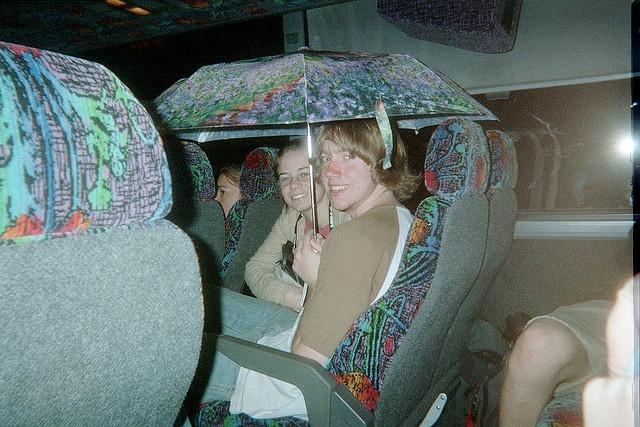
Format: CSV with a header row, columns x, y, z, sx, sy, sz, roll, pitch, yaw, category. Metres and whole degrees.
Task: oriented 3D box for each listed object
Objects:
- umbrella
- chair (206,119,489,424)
x,y,z,sx,sy,sz,roll,pitch,yaw,category
-0.010,-0.399,1.839,0.996,0.559,0.949,-1,24,1,umbrella
0.215,0.224,2.039,1.055,1.371,0.963,7,2,33,chair
